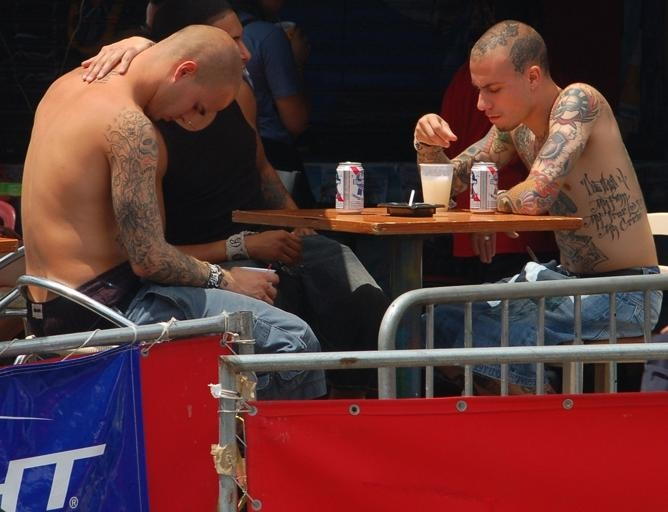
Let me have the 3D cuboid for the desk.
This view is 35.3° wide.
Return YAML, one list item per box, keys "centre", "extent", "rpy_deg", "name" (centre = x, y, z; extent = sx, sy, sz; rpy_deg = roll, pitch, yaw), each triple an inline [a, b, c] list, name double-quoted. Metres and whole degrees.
- centre: [0.309, 0.214, 4.425]
  extent: [1.031, 0.804, 1.047]
  rpy_deg: [-11, 8, 4]
  name: "desk"

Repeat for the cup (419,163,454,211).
- centre: [0.459, -0.312, 4.654]
  extent: [0.173, 0.200, 0.179]
  rpy_deg: [1, 1, 0]
  name: "cup"
